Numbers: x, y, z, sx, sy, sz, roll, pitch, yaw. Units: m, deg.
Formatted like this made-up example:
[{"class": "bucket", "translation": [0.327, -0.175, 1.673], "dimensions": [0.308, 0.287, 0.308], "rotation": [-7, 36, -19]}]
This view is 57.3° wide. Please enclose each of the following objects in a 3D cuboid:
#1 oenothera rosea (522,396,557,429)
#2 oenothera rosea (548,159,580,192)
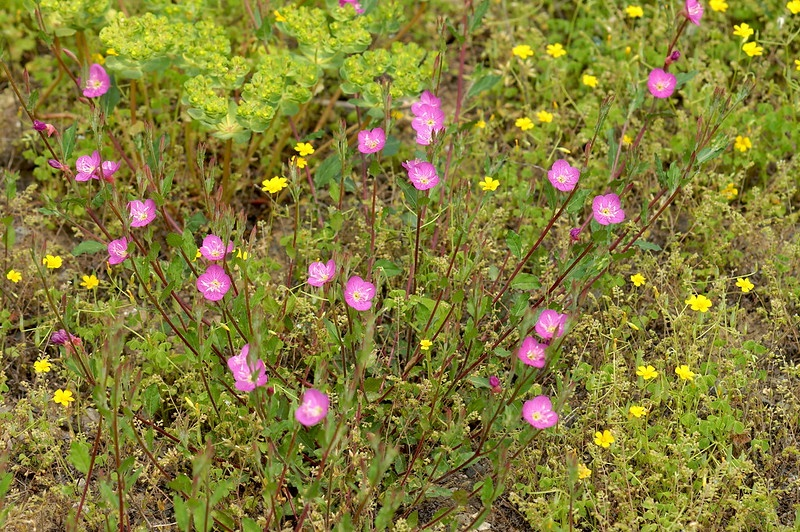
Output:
[{"class": "oenothera rosea", "translation": [0.587, 0.623, 3.144], "dimensions": [0.188, 0.197, 0.079], "rotation": [-19, 91, 0]}, {"class": "oenothera rosea", "translation": [0.777, -0.423, 3.464], "dimensions": [0.128, 0.065, 0.157], "rotation": [-10, 77, -9]}]
